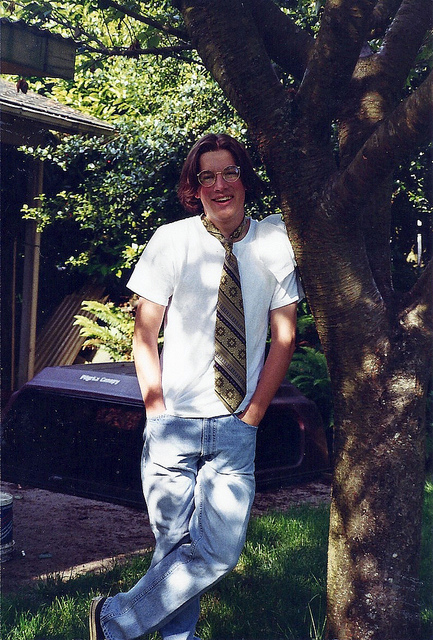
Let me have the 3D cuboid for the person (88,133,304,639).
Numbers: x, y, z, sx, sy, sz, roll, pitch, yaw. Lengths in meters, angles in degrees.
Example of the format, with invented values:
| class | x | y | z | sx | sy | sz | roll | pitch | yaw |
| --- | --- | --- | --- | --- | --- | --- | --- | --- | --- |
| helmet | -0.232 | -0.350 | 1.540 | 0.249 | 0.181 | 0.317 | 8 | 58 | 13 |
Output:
| class | x | y | z | sx | sy | sz | roll | pitch | yaw |
| --- | --- | --- | --- | --- | --- | --- | --- | --- | --- |
| person | -0.064 | 0.252 | 2.532 | 0.782 | 1.995 | 0.417 | 1 | 0 | 6 |

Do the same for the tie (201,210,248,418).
| class | x | y | z | sx | sy | sz | roll | pitch | yaw |
| --- | --- | --- | --- | --- | --- | --- | --- | --- | --- |
| tie | 0.023 | -0.025 | 2.451 | 0.182 | 0.526 | 0.269 | 1 | 0 | 2 |

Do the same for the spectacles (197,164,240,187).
| class | x | y | z | sx | sy | sz | roll | pitch | yaw |
| --- | --- | --- | --- | --- | --- | --- | --- | --- | --- |
| spectacles | 0.008 | -0.560 | 2.568 | 0.160 | 0.060 | 0.042 | 0 | 0 | 2 |
